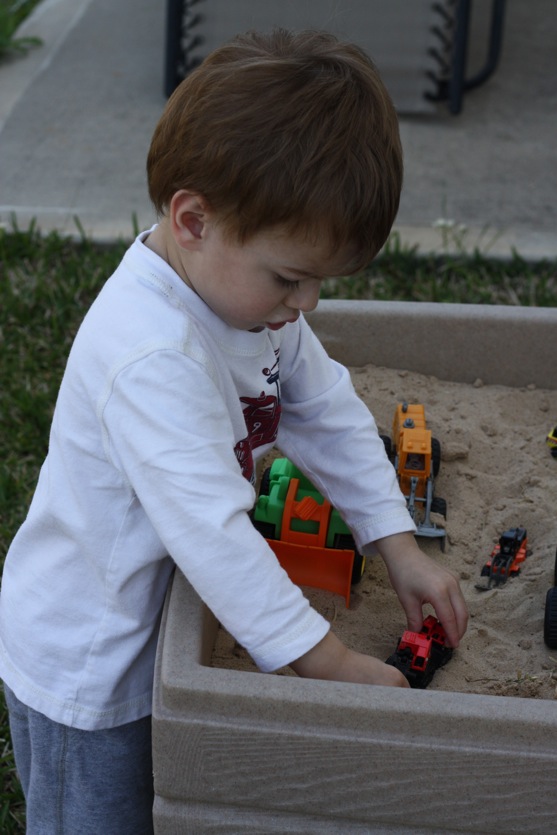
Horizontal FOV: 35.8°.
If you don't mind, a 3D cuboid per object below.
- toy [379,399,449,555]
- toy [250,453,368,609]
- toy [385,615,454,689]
[{"bbox_3d":[0.310,0.140,2.166,0.182,0.161,0.311,-3,55,-2],"label":"toy"},{"bbox_3d":[0.066,0.252,1.937,0.186,0.166,0.321,2,32,-21],"label":"toy"},{"bbox_3d":[0.262,0.428,1.577,0.099,0.045,0.146,17,28,17],"label":"toy"}]
